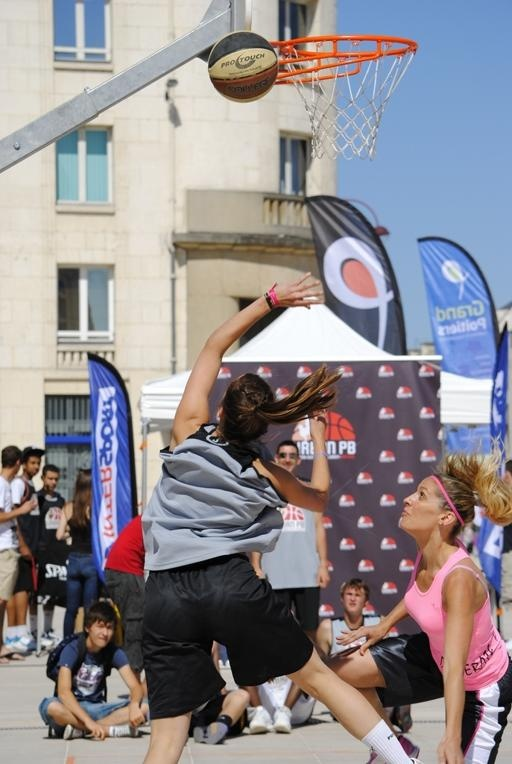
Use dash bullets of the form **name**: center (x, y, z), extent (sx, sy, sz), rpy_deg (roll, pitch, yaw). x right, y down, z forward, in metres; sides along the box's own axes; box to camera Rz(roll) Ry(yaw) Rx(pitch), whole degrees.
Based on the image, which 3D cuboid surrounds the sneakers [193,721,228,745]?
- **sneakers**: center (-0.263, 2.132, 8.881), extent (0.191, 0.094, 0.278), rpy_deg (-5, -4, -25)

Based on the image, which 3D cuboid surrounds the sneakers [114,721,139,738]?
- **sneakers**: center (-0.802, 2.196, 9.209), extent (0.188, 0.064, 0.078), rpy_deg (1, -10, -5)

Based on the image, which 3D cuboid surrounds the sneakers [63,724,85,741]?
- **sneakers**: center (-1.130, 2.199, 9.168), extent (0.057, 0.160, 0.075), rpy_deg (10, 47, 48)

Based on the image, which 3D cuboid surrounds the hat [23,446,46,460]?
- **hat**: center (-1.927, 0.623, 12.595), extent (0.104, 0.092, 0.173), rpy_deg (13, -33, -37)
